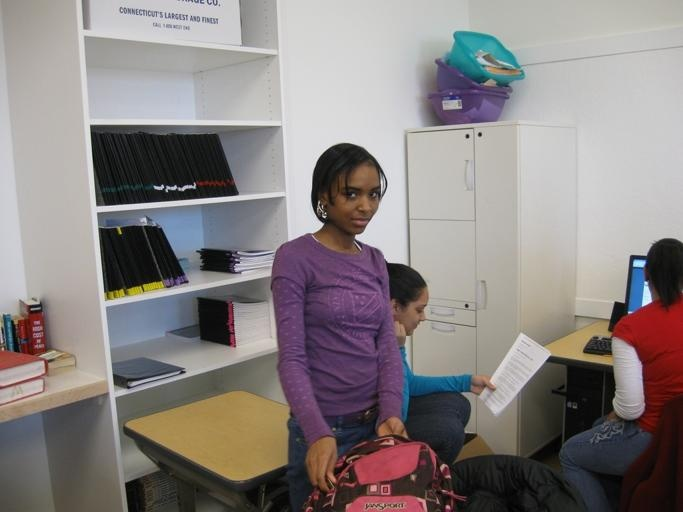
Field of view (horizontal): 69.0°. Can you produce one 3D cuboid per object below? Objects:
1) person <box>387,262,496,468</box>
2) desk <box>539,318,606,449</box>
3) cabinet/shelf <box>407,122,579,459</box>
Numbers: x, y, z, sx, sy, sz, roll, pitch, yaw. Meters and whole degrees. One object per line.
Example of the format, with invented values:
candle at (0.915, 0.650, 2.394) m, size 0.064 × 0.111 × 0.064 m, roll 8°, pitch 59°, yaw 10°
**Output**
person at (0.343, 0.574, 2.024) m, size 0.546 × 1.015 × 0.334 m, roll -1°, pitch 8°, yaw 10°
desk at (1.433, 0.848, 2.932) m, size 0.383 × 0.382 × 0.430 m, roll 1°, pitch -20°, yaw 27°
cabinet/shelf at (1.074, 0.133, 3.436) m, size 0.631 × 1.953 × 0.816 m, roll -5°, pitch 4°, yaw -34°
